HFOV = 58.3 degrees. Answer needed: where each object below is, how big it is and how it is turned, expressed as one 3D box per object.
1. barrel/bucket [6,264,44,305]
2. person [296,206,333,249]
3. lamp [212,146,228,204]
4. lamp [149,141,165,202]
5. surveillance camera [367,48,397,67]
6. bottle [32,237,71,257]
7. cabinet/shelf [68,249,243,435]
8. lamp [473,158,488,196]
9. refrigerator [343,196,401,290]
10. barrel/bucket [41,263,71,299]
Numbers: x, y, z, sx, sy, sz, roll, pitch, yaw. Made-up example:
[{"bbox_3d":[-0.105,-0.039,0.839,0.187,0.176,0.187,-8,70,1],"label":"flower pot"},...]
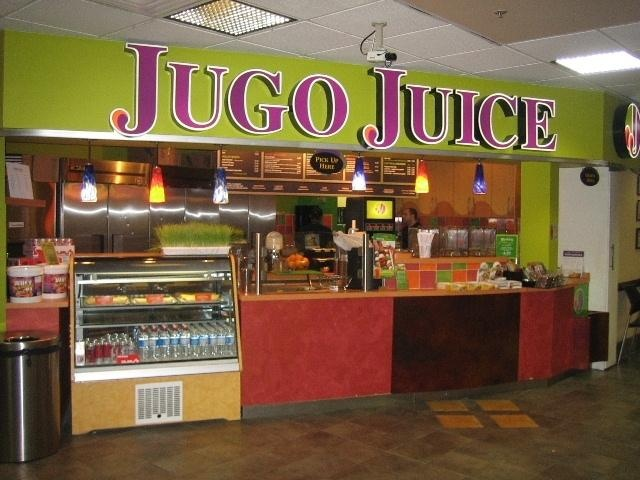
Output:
[{"bbox_3d":[-2.907,0.439,5.657,0.327,0.372,0.337,1,-1,0],"label":"barrel/bucket"},{"bbox_3d":[-0.119,-0.233,10.439,0.604,1.019,0.485,0,15,-37],"label":"person"},{"bbox_3d":[-1.117,-0.748,6.458,0.172,0.664,0.163,-2,4,-18],"label":"lamp"},{"bbox_3d":[-2.291,-0.906,8.126,0.244,0.861,1.981,0,6,-15],"label":"lamp"},{"bbox_3d":[0.634,-1.942,6.096,0.339,0.180,0.191,5,8,39],"label":"surveillance camera"},{"bbox_3d":[-3.096,0.089,6.752,0.359,0.228,0.642,0,6,-11],"label":"bottle"},{"bbox_3d":[-1.654,1.030,6.292,1.705,1.753,1.167,-2,-1,-8],"label":"cabinet/shelf"},{"bbox_3d":[2.402,-0.932,8.627,0.153,0.472,0.818,2,6,15],"label":"lamp"},{"bbox_3d":[0.968,-0.013,11.172,0.833,1.807,0.943,-1,11,-15],"label":"refrigerator"},{"bbox_3d":[-2.690,0.426,5.841,0.289,0.326,0.297,2,0,0],"label":"barrel/bucket"}]
